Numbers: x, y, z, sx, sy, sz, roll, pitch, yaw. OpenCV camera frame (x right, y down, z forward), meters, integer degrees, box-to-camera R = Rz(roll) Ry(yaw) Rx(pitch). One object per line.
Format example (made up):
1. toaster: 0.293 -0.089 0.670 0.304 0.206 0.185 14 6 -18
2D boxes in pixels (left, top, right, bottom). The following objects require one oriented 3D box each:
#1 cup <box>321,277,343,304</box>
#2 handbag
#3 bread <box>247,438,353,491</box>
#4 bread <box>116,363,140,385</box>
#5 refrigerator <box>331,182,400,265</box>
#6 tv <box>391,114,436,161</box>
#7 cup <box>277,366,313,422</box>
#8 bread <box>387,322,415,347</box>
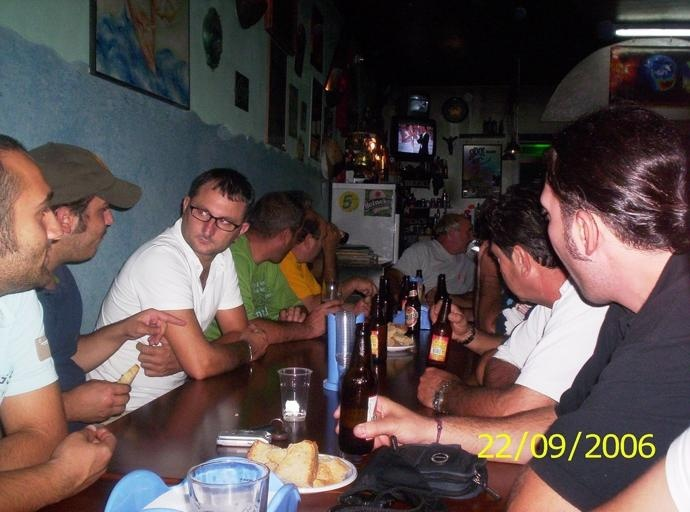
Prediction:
1. cup: -0.090 0.215 3.282 0.150 0.251 0.156 -2 1 0
2. handbag: 0.191 0.530 1.320 0.208 0.077 0.160 6 -12 -8
3. bread: -0.100 0.532 1.345 0.184 0.039 0.185 3 -3 -2
4. bread: -0.879 0.477 2.174 0.054 0.065 0.113 29 -44 -20
5. refrigerator: 0.384 -0.409 6.631 0.879 1.365 0.765 0 2 8
6. tv: 1.050 -1.845 8.378 0.775 0.720 0.418 0 -1 -16
7. cup: -0.160 0.453 1.737 0.122 0.151 0.119 0 -15 0
8. bread: 0.269 0.371 2.629 0.109 0.040 0.114 22 13 33
